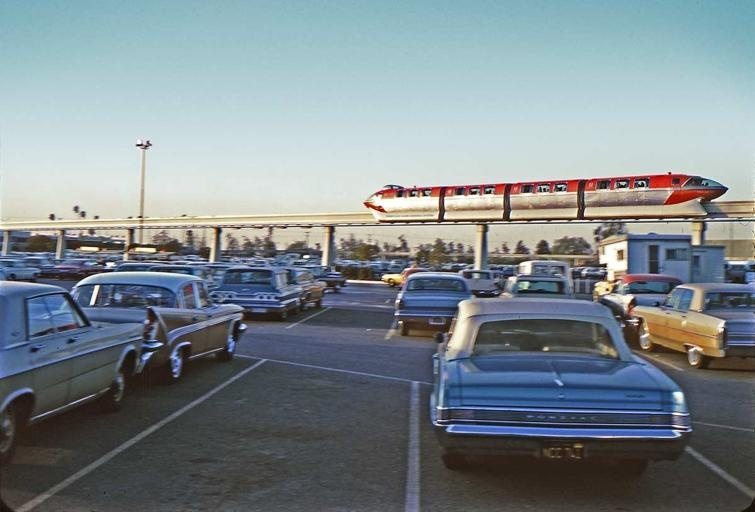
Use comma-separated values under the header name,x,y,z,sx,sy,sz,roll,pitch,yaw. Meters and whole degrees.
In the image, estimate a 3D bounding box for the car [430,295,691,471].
name,x,y,z,sx,sy,sz,roll,pitch,yaw
car,1.992,1.434,7.431,2.606,0.779,3.051,1,1,2
